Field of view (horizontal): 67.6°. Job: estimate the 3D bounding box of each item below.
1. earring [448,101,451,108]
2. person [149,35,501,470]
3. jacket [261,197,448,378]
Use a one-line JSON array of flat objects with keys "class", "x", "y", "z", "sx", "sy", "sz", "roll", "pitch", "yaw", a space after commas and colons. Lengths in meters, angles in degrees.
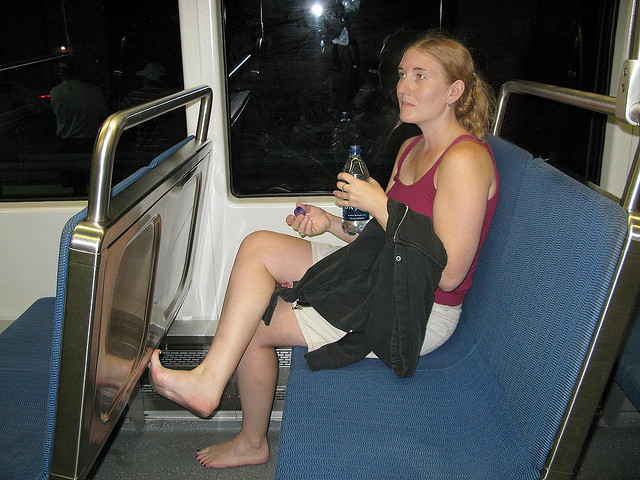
[{"class": "earring", "x": 0.503, "y": -0.526, "z": 1.857, "sx": 0.009, "sy": 0.022, "sz": 0.017, "roll": 9, "pitch": 22, "yaw": 22}, {"class": "person", "x": -0.010, "y": 0.112, "z": 1.924, "sx": 1.389, "sy": 1.844, "sz": 0.730, "roll": 1, "pitch": 13, "yaw": -16}, {"class": "jacket", "x": 0.101, "y": 0.120, "z": 1.804, "sx": 0.621, "sy": 0.338, "sz": 0.637, "roll": -4, "pitch": -4, "yaw": 36}]
